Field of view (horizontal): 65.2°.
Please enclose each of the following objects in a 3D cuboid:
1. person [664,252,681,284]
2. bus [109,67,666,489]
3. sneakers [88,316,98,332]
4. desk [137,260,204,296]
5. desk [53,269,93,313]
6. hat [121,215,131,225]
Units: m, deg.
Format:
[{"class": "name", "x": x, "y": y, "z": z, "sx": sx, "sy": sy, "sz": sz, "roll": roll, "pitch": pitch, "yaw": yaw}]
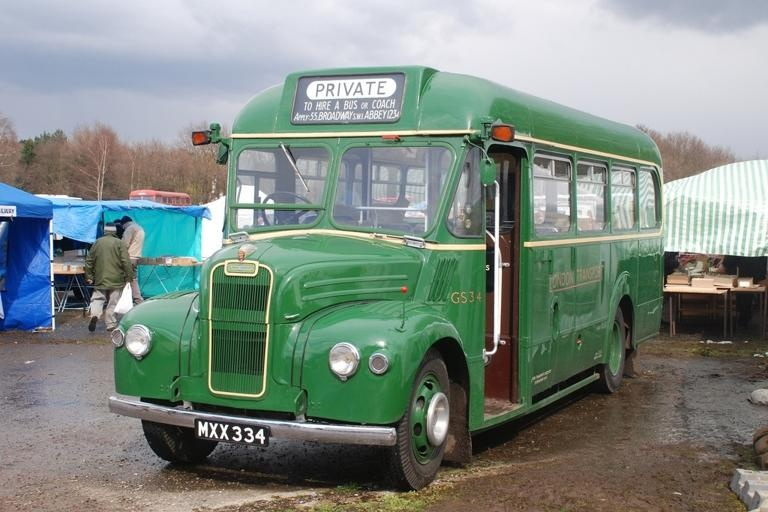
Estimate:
[{"class": "person", "x": 9.257, "y": 0.213, "z": 19.465, "sx": 0.373, "sy": 0.713, "sz": 0.787, "roll": 2, "pitch": 2, "yaw": 24}, {"class": "bus", "x": 0.934, "y": -0.031, "z": 8.806, "sx": 3.564, "sy": 3.719, "sz": 8.232, "roll": 0, "pitch": 0, "yaw": 33}, {"class": "sneakers", "x": -7.437, "y": 1.738, "z": 15.446, "sx": 0.143, "sy": 0.408, "sz": 0.178, "roll": 15, "pitch": 7, "yaw": -9}, {"class": "desk", "x": -6.594, "y": 0.612, "z": 18.177, "sx": 1.063, "sy": 0.790, "sz": 1.083, "roll": 2, "pitch": 7, "yaw": 7}, {"class": "desk", "x": -9.940, "y": 1.116, "z": 19.330, "sx": 1.284, "sy": 0.931, "sz": 0.674, "roll": 2, "pitch": 6, "yaw": 26}, {"class": "hat", "x": -7.434, "y": -1.060, "z": 17.538, "sx": 0.310, "sy": 0.244, "sz": 0.315, "roll": 4, "pitch": -4, "yaw": -40}]
